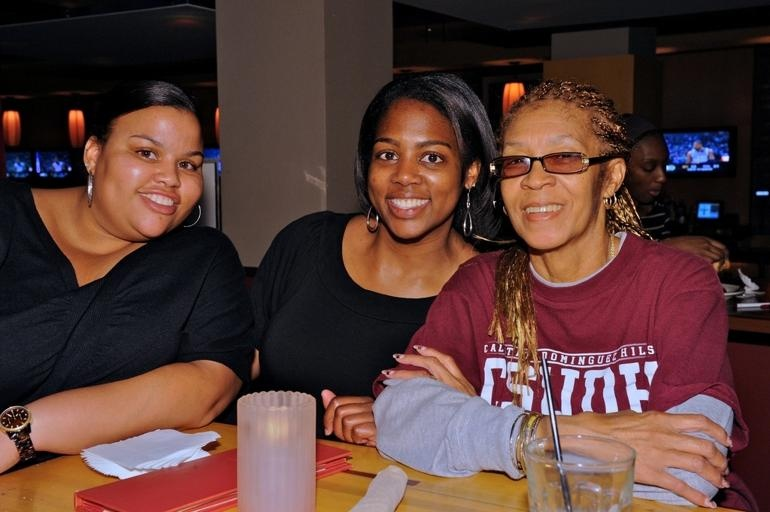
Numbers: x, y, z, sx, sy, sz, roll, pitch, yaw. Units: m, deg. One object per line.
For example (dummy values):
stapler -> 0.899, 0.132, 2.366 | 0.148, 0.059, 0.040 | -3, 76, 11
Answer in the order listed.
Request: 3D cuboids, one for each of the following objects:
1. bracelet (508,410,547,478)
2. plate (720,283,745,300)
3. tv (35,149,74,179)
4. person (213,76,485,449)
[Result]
bracelet -> 0.364, 0.491, 1.681 | 0.145, 0.147, 0.057 | 26, -5, -39
plate -> 1.999, 0.205, 3.577 | 0.125, 0.030, 0.127 | -1, 10, -1
tv -> -6.753, -1.856, 12.770 | 0.820, 0.506, 0.416 | 1, 3, 2
person -> -0.029, 0.058, 2.702 | 1.215, 1.606, 0.991 | 15, 21, 10
